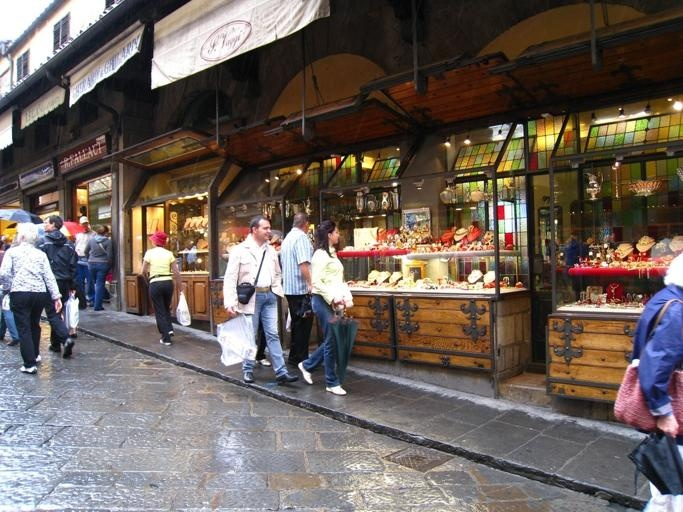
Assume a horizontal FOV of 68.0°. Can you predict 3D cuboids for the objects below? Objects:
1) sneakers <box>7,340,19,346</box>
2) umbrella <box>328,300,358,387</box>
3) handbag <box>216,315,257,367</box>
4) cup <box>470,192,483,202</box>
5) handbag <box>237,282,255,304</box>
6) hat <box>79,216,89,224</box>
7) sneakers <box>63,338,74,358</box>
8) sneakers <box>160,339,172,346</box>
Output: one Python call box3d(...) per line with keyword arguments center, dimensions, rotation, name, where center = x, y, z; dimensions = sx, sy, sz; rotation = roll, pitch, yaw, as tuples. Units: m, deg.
box3d(center=(-5.677, 1.496, 8.746), dimensions=(0.246, 0.108, 0.087), rotation=(3, 1, 8), name="sneakers")
box3d(center=(0.011, 1.099, 5.983), dimensions=(0.288, 0.972, 0.251), rotation=(4, 6, 37), name="umbrella")
box3d(center=(-1.277, 1.071, 6.362), dimensions=(0.558, 0.663, 0.246), rotation=(-6, -7, 4), name="handbag")
box3d(center=(1.778, -0.775, 6.631), dimensions=(0.134, 0.145, 0.133), rotation=(-2, 1, 0), name="cup")
box3d(center=(-1.188, 0.453, 6.269), dimensions=(0.279, 0.257, 0.141), rotation=(2, -4, 7), name="handbag")
box3d(center=(-6.542, -0.880, 12.862), dimensions=(0.262, 0.130, 0.372), rotation=(12, 3, -33), name="hat")
box3d(center=(-4.138, 1.395, 7.668), dimensions=(0.116, 0.299, 0.142), rotation=(5, 34, -41), name="sneakers")
box3d(center=(-2.949, 1.460, 8.541), dimensions=(0.089, 0.090, 0.217), rotation=(-2, 10, -39), name="sneakers")
